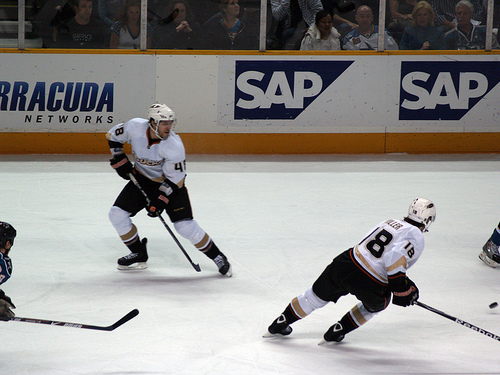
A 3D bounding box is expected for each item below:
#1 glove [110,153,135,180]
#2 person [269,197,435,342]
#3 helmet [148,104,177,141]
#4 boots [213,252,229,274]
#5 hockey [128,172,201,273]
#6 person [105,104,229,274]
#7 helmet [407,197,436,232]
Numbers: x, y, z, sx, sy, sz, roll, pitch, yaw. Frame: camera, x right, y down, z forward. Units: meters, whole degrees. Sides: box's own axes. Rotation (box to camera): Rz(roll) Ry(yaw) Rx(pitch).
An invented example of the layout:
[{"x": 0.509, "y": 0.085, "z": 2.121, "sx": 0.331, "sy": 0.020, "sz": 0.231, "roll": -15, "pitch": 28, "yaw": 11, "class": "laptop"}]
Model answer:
[{"x": -1.188, "y": -0.203, "z": 6.033, "sx": 0.171, "sy": 0.287, "sz": 0.118, "roll": -37, "pitch": -17, "yaw": 7, "class": "glove"}, {"x": 0.789, "y": 0.617, "z": 4.734, "sx": 1.021, "sy": 1.079, "sz": 0.460, "roll": 5, "pitch": 16, "yaw": 13, "class": "person"}, {"x": -0.791, "y": -0.619, "z": 5.802, "sx": 0.328, "sy": 0.328, "sz": 0.251, "roll": 10, "pitch": 19, "yaw": 21, "class": "helmet"}, {"x": -0.244, "y": 0.689, "z": 5.700, "sx": 0.096, "sy": 0.076, "sz": 0.226, "roll": 11, "pitch": 24, "yaw": -30, "class": "boots"}, {"x": -0.817, "y": 0.360, "z": 5.966, "sx": 0.130, "sy": 1.192, "sz": 0.063, "roll": -43, "pitch": -4, "yaw": 22, "class": "hockey"}, {"x": -0.873, "y": -0.007, "z": 5.767, "sx": 1.291, "sy": 1.465, "sz": 0.626, "roll": 15, "pitch": 21, "yaw": 40, "class": "person"}, {"x": 1.261, "y": 0.200, "z": 4.796, "sx": 0.204, "sy": 0.235, "sz": 0.256, "roll": 21, "pitch": 1, "yaw": 31, "class": "helmet"}]
